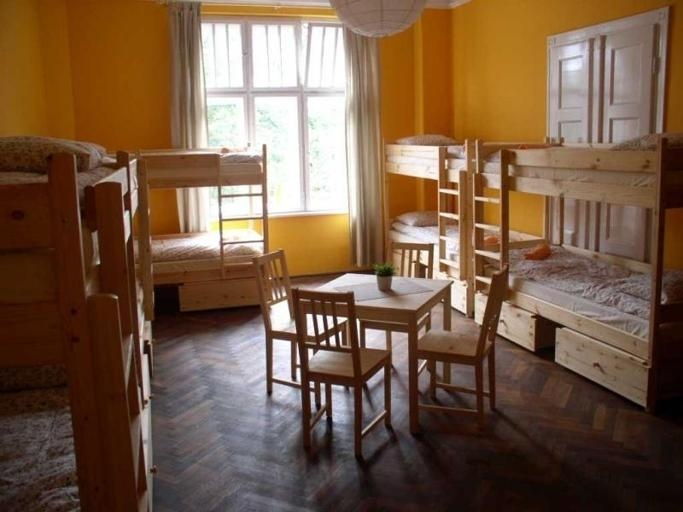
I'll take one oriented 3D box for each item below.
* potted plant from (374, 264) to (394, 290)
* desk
[{"bbox_3d":[0.359,0.171,4.610,0.182,0.194,0.175,3,7,21],"label":"potted plant"},{"bbox_3d":[0.358,0.675,4.676,1.057,1.018,1.092,1,7,23],"label":"desk"}]
